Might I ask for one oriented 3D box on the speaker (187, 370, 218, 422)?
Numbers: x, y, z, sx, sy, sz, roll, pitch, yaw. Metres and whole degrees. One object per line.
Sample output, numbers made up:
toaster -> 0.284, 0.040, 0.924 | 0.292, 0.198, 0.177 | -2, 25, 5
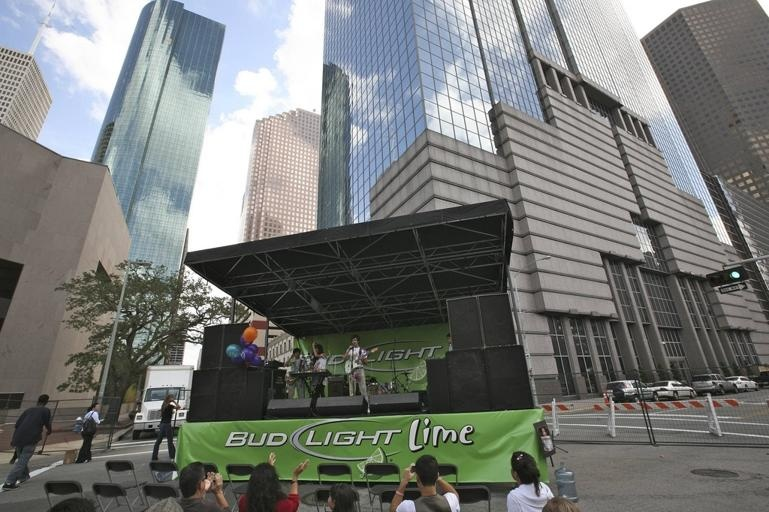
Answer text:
speaker -> -8.180, 6.235, 19.622 | 1.258, 2.161, 0.699 | 0, -22, -12

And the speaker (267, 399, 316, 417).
speaker -> -4.192, 6.706, 19.252 | 2.121, 0.783, 0.262 | -7, -22, 10

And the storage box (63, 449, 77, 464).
storage box -> -15.421, 9.801, 21.422 | 0.471, 0.634, 0.415 | 12, -26, -36

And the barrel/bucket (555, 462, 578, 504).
barrel/bucket -> 6.825, 8.561, 16.496 | 0.671, 1.479, 1.312 | -11, -22, 16

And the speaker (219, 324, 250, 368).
speaker -> -7.014, 4.046, 19.966 | 1.268, 1.901, 0.776 | -3, -22, -3

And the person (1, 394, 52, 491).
person -> -15.476, 7.999, 18.896 | 1.104, 3.678, 1.621 | 16, -30, -42

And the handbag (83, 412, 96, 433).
handbag -> -14.547, 8.116, 21.539 | 0.549, 1.224, 0.919 | 11, -26, -35

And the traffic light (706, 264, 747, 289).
traffic light -> 18.152, 1.121, 23.089 | 0.487, 1.208, 1.925 | -5, -15, -23

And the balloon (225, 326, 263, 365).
balloon -> -6.468, 4.367, 20.461 | 1.470, 1.282, 1.855 | -35, -36, 9

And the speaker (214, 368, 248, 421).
speaker -> -6.915, 6.153, 19.553 | 1.443, 2.168, 0.484 | -7, -22, 6

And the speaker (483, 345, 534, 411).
speaker -> 5.021, 4.982, 17.952 | 1.703, 2.527, 0.818 | -8, -22, 8

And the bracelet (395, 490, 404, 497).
bracelet -> 0.514, 7.876, 14.531 | 0.223, 0.055, 0.213 | 6, -16, -26

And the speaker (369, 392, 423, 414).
speaker -> 0.380, 6.303, 18.729 | 1.664, 0.510, 1.111 | -1, -12, 8

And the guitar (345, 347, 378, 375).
guitar -> -1.412, 5.176, 22.313 | 2.068, 0.943, 0.522 | -10, -9, 21
